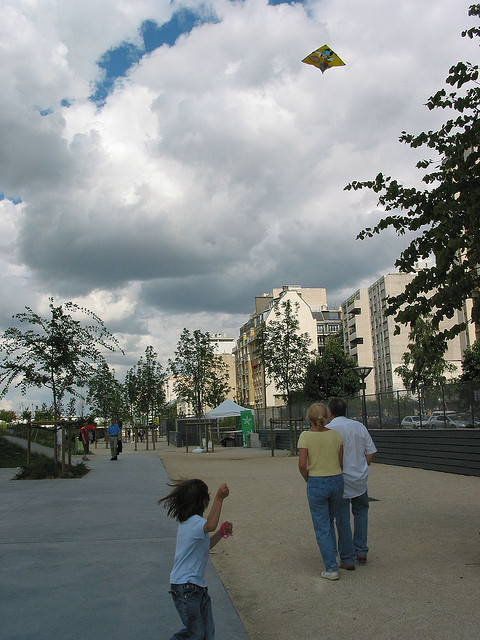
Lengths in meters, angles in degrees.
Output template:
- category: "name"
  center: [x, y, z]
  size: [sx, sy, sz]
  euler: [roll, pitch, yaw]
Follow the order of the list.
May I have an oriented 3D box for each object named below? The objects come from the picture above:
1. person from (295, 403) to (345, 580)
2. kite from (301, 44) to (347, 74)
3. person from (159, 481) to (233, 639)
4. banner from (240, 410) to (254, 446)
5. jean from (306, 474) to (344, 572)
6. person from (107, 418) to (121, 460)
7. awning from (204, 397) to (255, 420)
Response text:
- category: "person"
  center: [0.770, 1.580, 4.898]
  size: [0.465, 1.573, 0.319]
  euler: [-1, -8, -6]
- category: "kite"
  center: [1.263, -3.951, 8.089]
  size: [0.537, 0.353, 0.601]
  euler: [-7, -10, 33]
- category: "person"
  center: [-0.195, 1.126, 2.472]
  size: [0.299, 0.700, 0.270]
  euler: [-1, -9, -8]
- category: "banner"
  center: [0.504, 7.771, 37.941]
  size: [0.954, 2.546, 1.330]
  euler: [-2, -8, 1]
- category: "jean"
  center: [0.818, 1.857, 4.855]
  size: [0.368, 0.841, 0.232]
  euler: [4, -11, -37]
- category: "person"
  center: [-6.051, 5.808, 25.043]
  size: [0.413, 1.709, 1.077]
  euler: [0, -9, -13]
- category: "awning"
  center: [-1.083, 6.745, 39.910]
  size: [2.802, 1.412, 5.225]
  euler: [-2, -8, -2]
